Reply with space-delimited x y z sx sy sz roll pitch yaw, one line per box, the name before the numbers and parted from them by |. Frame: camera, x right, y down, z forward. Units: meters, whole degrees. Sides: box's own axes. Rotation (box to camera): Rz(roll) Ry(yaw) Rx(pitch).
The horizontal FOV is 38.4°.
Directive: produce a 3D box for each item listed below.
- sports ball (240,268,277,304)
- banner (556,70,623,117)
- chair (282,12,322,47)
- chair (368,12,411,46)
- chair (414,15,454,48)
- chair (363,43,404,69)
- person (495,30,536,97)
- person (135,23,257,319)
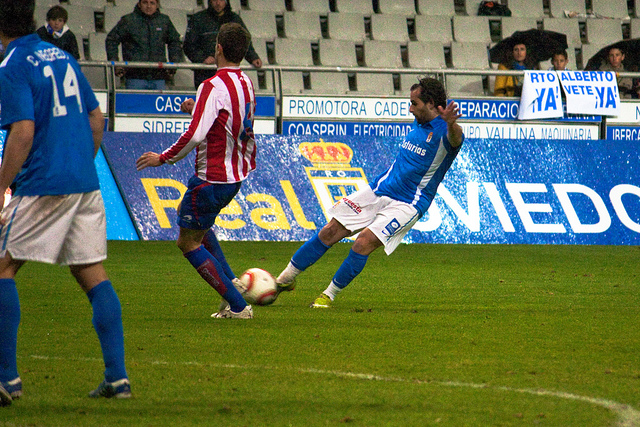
sports ball | -0.637 0.765 9.995 0.374 0.355 0.382 -11 13 3
banner | 4.354 -1.943 14.896 1.148 0.753 0.108 -1 -5 -19
chair | -0.356 -3.595 18.247 0.786 0.696 0.667 -4 41 1
chair | 1.433 -3.676 18.434 0.807 0.564 0.743 -5 19 -21
chair | 2.322 -3.787 18.563 0.792 0.572 0.784 -1 2 -2
chair | 1.199 -3.037 17.633 0.787 0.491 0.732 -1 16 -5
person | 3.380 -2.596 15.811 0.585 1.008 1.955 4 13 13
person | -1.147 -0.417 9.297 0.980 2.954 0.746 0 13 -5
